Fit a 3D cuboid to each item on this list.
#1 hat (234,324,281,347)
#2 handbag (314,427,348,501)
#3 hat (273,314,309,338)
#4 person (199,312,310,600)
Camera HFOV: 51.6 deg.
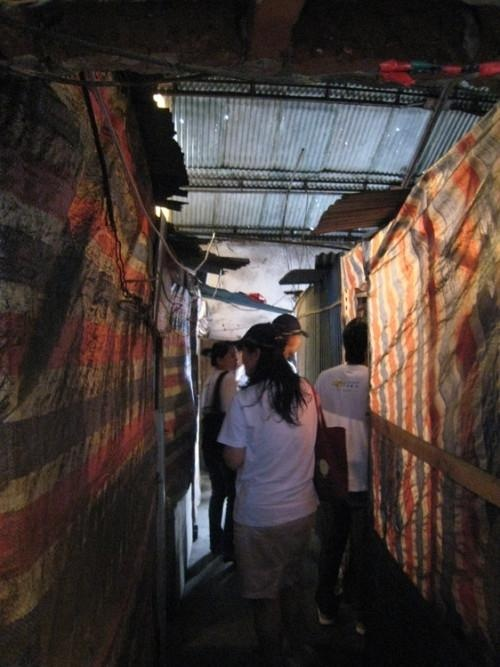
[{"bbox_3d":[0.046,0.004,2.531,0.152,0.088,0.104,4,2,4],"label":"hat"},{"bbox_3d":[0.438,0.639,2.636,0.126,0.393,0.298,-3,12,10],"label":"handbag"},{"bbox_3d":[0.257,-0.061,3.348,0.188,0.118,0.139,10,8,-18],"label":"hat"},{"bbox_3d":[0.071,0.585,2.368,0.427,1.269,0.251,1,-7,-1],"label":"person"}]
